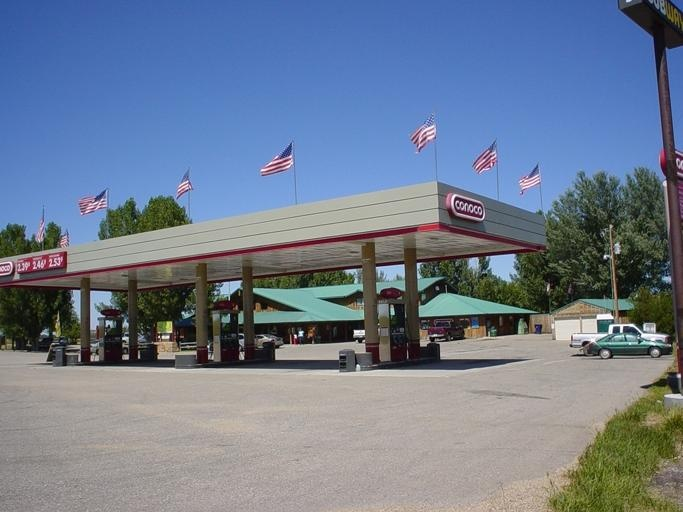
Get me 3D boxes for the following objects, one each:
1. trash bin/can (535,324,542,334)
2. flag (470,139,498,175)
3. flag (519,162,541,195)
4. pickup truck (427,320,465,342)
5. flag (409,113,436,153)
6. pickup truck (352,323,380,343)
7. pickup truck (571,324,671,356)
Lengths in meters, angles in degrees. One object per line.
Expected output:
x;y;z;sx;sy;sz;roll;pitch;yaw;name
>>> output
24.175;8.807;76.610;0.926;1.393;0.837;-7;-13;39;trash bin/can
7.494;-5.220;32.520;1.020;1.696;2.224;-2;-4;20;flag
10.482;-4.422;34.637;0.923;1.679;2.922;-2;-4;14;flag
11.066;7.838;65.793;1.976;1.867;4.175;-2;-1;35;pickup truck
4.020;-6.023;30.501;0.939;1.847;0.921;-1;-3;6;flag
1.984;8.765;72.360;1.854;1.933;3.798;2;-10;-30;pickup truck
16.561;4.885;36.623;3.329;1.325;1.570;-6;-7;21;pickup truck
